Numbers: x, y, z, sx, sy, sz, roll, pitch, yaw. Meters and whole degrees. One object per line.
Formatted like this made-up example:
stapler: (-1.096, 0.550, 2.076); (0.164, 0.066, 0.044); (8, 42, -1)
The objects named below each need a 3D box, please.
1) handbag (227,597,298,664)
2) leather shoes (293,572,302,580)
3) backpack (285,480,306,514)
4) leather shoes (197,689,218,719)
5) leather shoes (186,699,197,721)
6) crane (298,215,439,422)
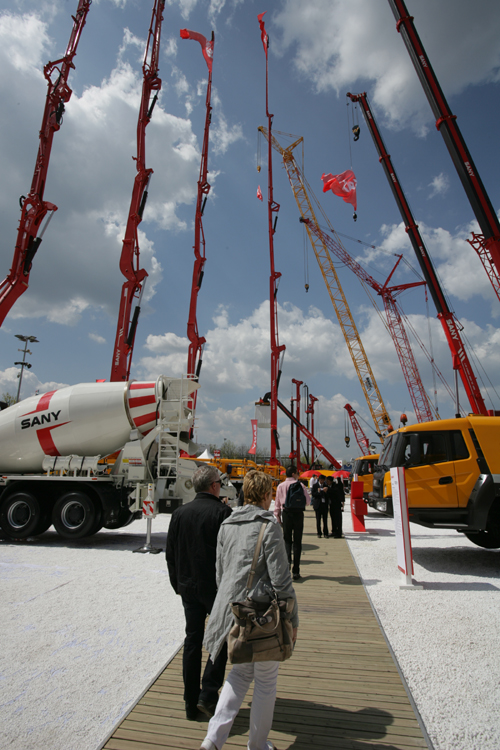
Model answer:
handbag: (0.052, 1.335, 2.630); (0.359, 0.363, 0.179); (12, -17, -33)
leather shoes: (0.684, 2.954, 7.154); (0.113, 0.121, 0.092); (-2, -1, -3)
backpack: (0.640, 1.776, 7.110); (0.360, 0.527, 0.270); (8, -21, -13)
leather shoes: (-0.274, 2.046, 3.047); (0.083, 0.110, 0.251); (-3, -31, 14)
leather shoes: (-0.389, 2.153, 3.134); (0.049, 0.050, 0.115); (1, -4, 3)
crane: (1.320, -0.630, 5.292); (1.308, 3.057, 0.413); (-9, -43, 22)
